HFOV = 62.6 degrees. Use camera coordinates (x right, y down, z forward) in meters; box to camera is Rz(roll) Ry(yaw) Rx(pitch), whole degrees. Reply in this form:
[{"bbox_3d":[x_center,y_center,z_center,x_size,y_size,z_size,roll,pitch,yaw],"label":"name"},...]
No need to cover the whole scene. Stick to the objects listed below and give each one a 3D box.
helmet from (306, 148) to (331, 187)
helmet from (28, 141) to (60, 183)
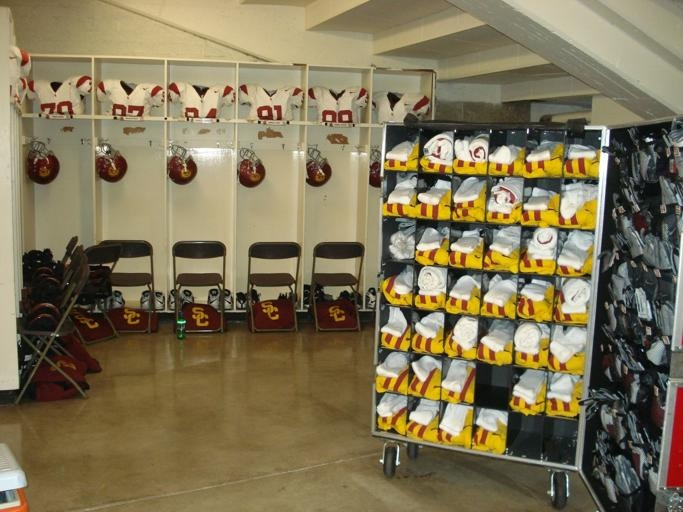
[{"bbox_3d":[-0.354,-1.134,7.176,0.340,0.439,0.355,6,1,28],"label":"helmet"},{"bbox_3d":[-3.557,-1.113,6.640,0.342,0.494,0.234,0,12,-9],"label":"helmet"}]
